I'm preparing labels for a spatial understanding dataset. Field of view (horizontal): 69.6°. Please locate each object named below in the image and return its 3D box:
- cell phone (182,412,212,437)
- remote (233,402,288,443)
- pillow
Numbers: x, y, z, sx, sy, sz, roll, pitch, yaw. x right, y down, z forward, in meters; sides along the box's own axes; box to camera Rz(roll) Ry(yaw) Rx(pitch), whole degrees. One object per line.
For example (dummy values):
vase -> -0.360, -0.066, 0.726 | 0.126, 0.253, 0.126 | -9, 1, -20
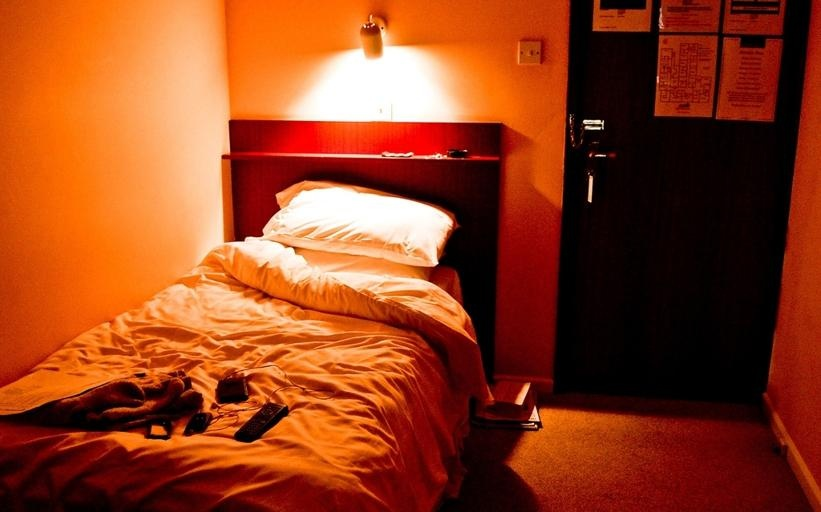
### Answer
cell phone -> -0.756, 0.599, 2.106 | 0.088, 0.041, 0.101 | 2, 15, -5
remote -> -0.525, 0.582, 2.093 | 0.080, 0.036, 0.154 | 12, 26, 22
pillow -> -0.267, -0.164, 3.177 | 0.868, 0.202, 0.545 | 13, 42, 3
